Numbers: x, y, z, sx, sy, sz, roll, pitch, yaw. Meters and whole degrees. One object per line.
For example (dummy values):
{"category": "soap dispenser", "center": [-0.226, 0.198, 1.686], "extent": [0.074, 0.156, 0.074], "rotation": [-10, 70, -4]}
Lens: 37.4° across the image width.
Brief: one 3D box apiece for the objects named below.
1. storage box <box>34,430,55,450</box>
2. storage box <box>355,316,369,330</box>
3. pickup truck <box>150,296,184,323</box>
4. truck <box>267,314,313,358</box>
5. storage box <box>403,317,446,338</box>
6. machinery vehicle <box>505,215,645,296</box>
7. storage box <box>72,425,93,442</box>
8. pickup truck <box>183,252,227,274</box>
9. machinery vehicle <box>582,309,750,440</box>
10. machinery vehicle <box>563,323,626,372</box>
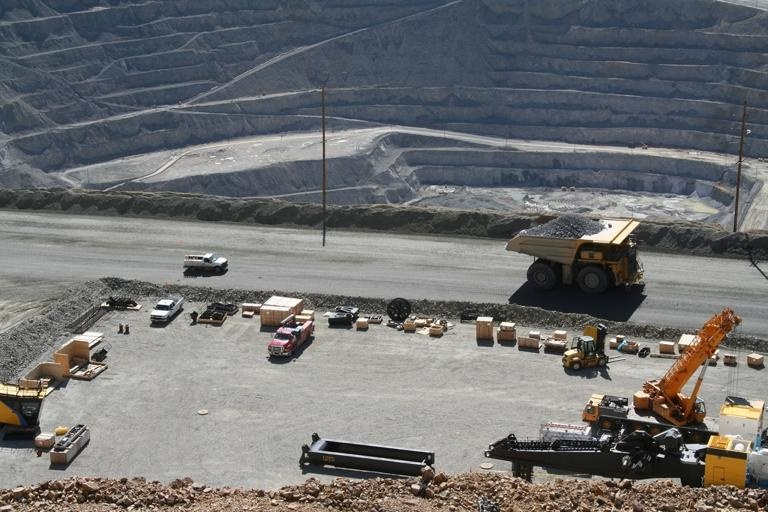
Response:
{"category": "storage box", "center": [-29.450, 16.159, 98.833], "extent": [1.601, 0.887, 1.471], "rotation": [1, 18, 1]}
{"category": "storage box", "center": [-2.159, 6.786, 111.726], "extent": [1.191, 0.657, 1.104], "rotation": [1, 7, 4]}
{"category": "pickup truck", "center": [-21.643, 5.399, 112.890], "extent": [1.806, 1.258, 3.682], "rotation": [3, 17, 6]}
{"category": "truck", "center": [-8.913, 7.832, 108.877], "extent": [2.622, 2.182, 5.061], "rotation": [7, 22, 15]}
{"category": "storage box", "center": [4.067, 7.048, 111.253], "extent": [4.019, 1.365, 2.143], "rotation": [6, 12, 18]}
{"category": "machinery vehicle", "center": [19.976, 0.502, 119.706], "extent": [13.029, 5.671, 8.144], "rotation": [3, 9, 23]}
{"category": "storage box", "center": [-26.384, 15.383, 98.519], "extent": [1.054, 0.749, 1.870], "rotation": [2, 21, 1]}
{"category": "pickup truck", "center": [-19.542, 0.868, 123.182], "extent": [4.560, 1.422, 2.053], "rotation": [1, 25, 2]}
{"category": "machinery vehicle", "center": [23.100, 10.221, 102.464], "extent": [13.745, 10.665, 8.945], "rotation": [2, -5, -6]}
{"category": "machinery vehicle", "center": [18.827, 8.852, 107.384], "extent": [4.210, 4.150, 2.512], "rotation": [-4, -4, -1]}
